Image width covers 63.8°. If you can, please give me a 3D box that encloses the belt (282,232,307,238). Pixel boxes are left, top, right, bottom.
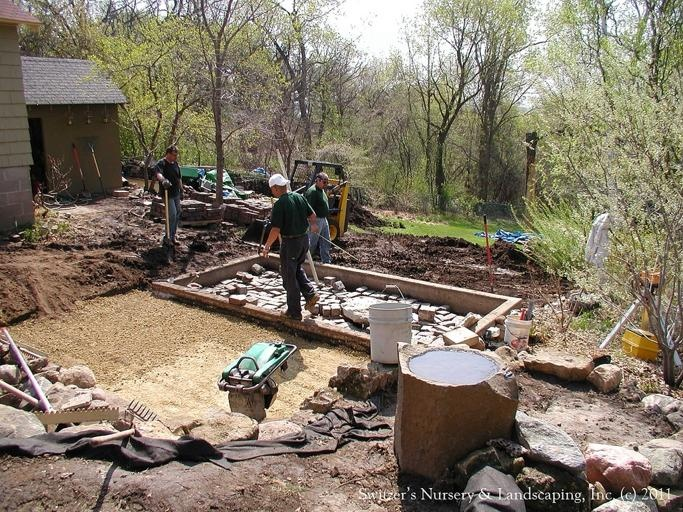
[{"bbox_3d":[-0.809,-0.357,9.439,0.463,0.131,0.265,-1,8,-11],"label":"belt"}]

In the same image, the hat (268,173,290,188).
[{"bbox_3d":[-1.135,-1.240,9.367,0.285,0.231,0.388,-14,14,-42],"label":"hat"}]

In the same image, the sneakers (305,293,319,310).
[{"bbox_3d":[-0.512,0.829,9.868,0.158,0.352,0.161,26,21,-33],"label":"sneakers"}]

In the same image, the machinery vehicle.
[{"bbox_3d":[-1.229,-1.589,15.456,2.792,2.519,1.897,3,10,-20],"label":"machinery vehicle"}]

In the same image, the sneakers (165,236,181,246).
[{"bbox_3d":[-3.861,-0.318,12.572,0.385,0.138,0.272,-9,-26,39],"label":"sneakers"}]

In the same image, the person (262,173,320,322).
[{"bbox_3d":[-0.844,-0.176,9.626,0.855,2.462,0.917,1,8,-1],"label":"person"}]

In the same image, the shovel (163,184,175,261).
[{"bbox_3d":[-3.863,-0.724,12.259,0.243,1.616,0.890,-2,9,-17],"label":"shovel"}]

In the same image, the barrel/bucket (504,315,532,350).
[{"bbox_3d":[2.765,1.200,8.658,0.466,0.507,0.428,1,2,0],"label":"barrel/bucket"}]

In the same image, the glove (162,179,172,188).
[{"bbox_3d":[-3.756,-1.580,11.813,0.093,0.136,0.270,-5,41,-29],"label":"glove"}]
